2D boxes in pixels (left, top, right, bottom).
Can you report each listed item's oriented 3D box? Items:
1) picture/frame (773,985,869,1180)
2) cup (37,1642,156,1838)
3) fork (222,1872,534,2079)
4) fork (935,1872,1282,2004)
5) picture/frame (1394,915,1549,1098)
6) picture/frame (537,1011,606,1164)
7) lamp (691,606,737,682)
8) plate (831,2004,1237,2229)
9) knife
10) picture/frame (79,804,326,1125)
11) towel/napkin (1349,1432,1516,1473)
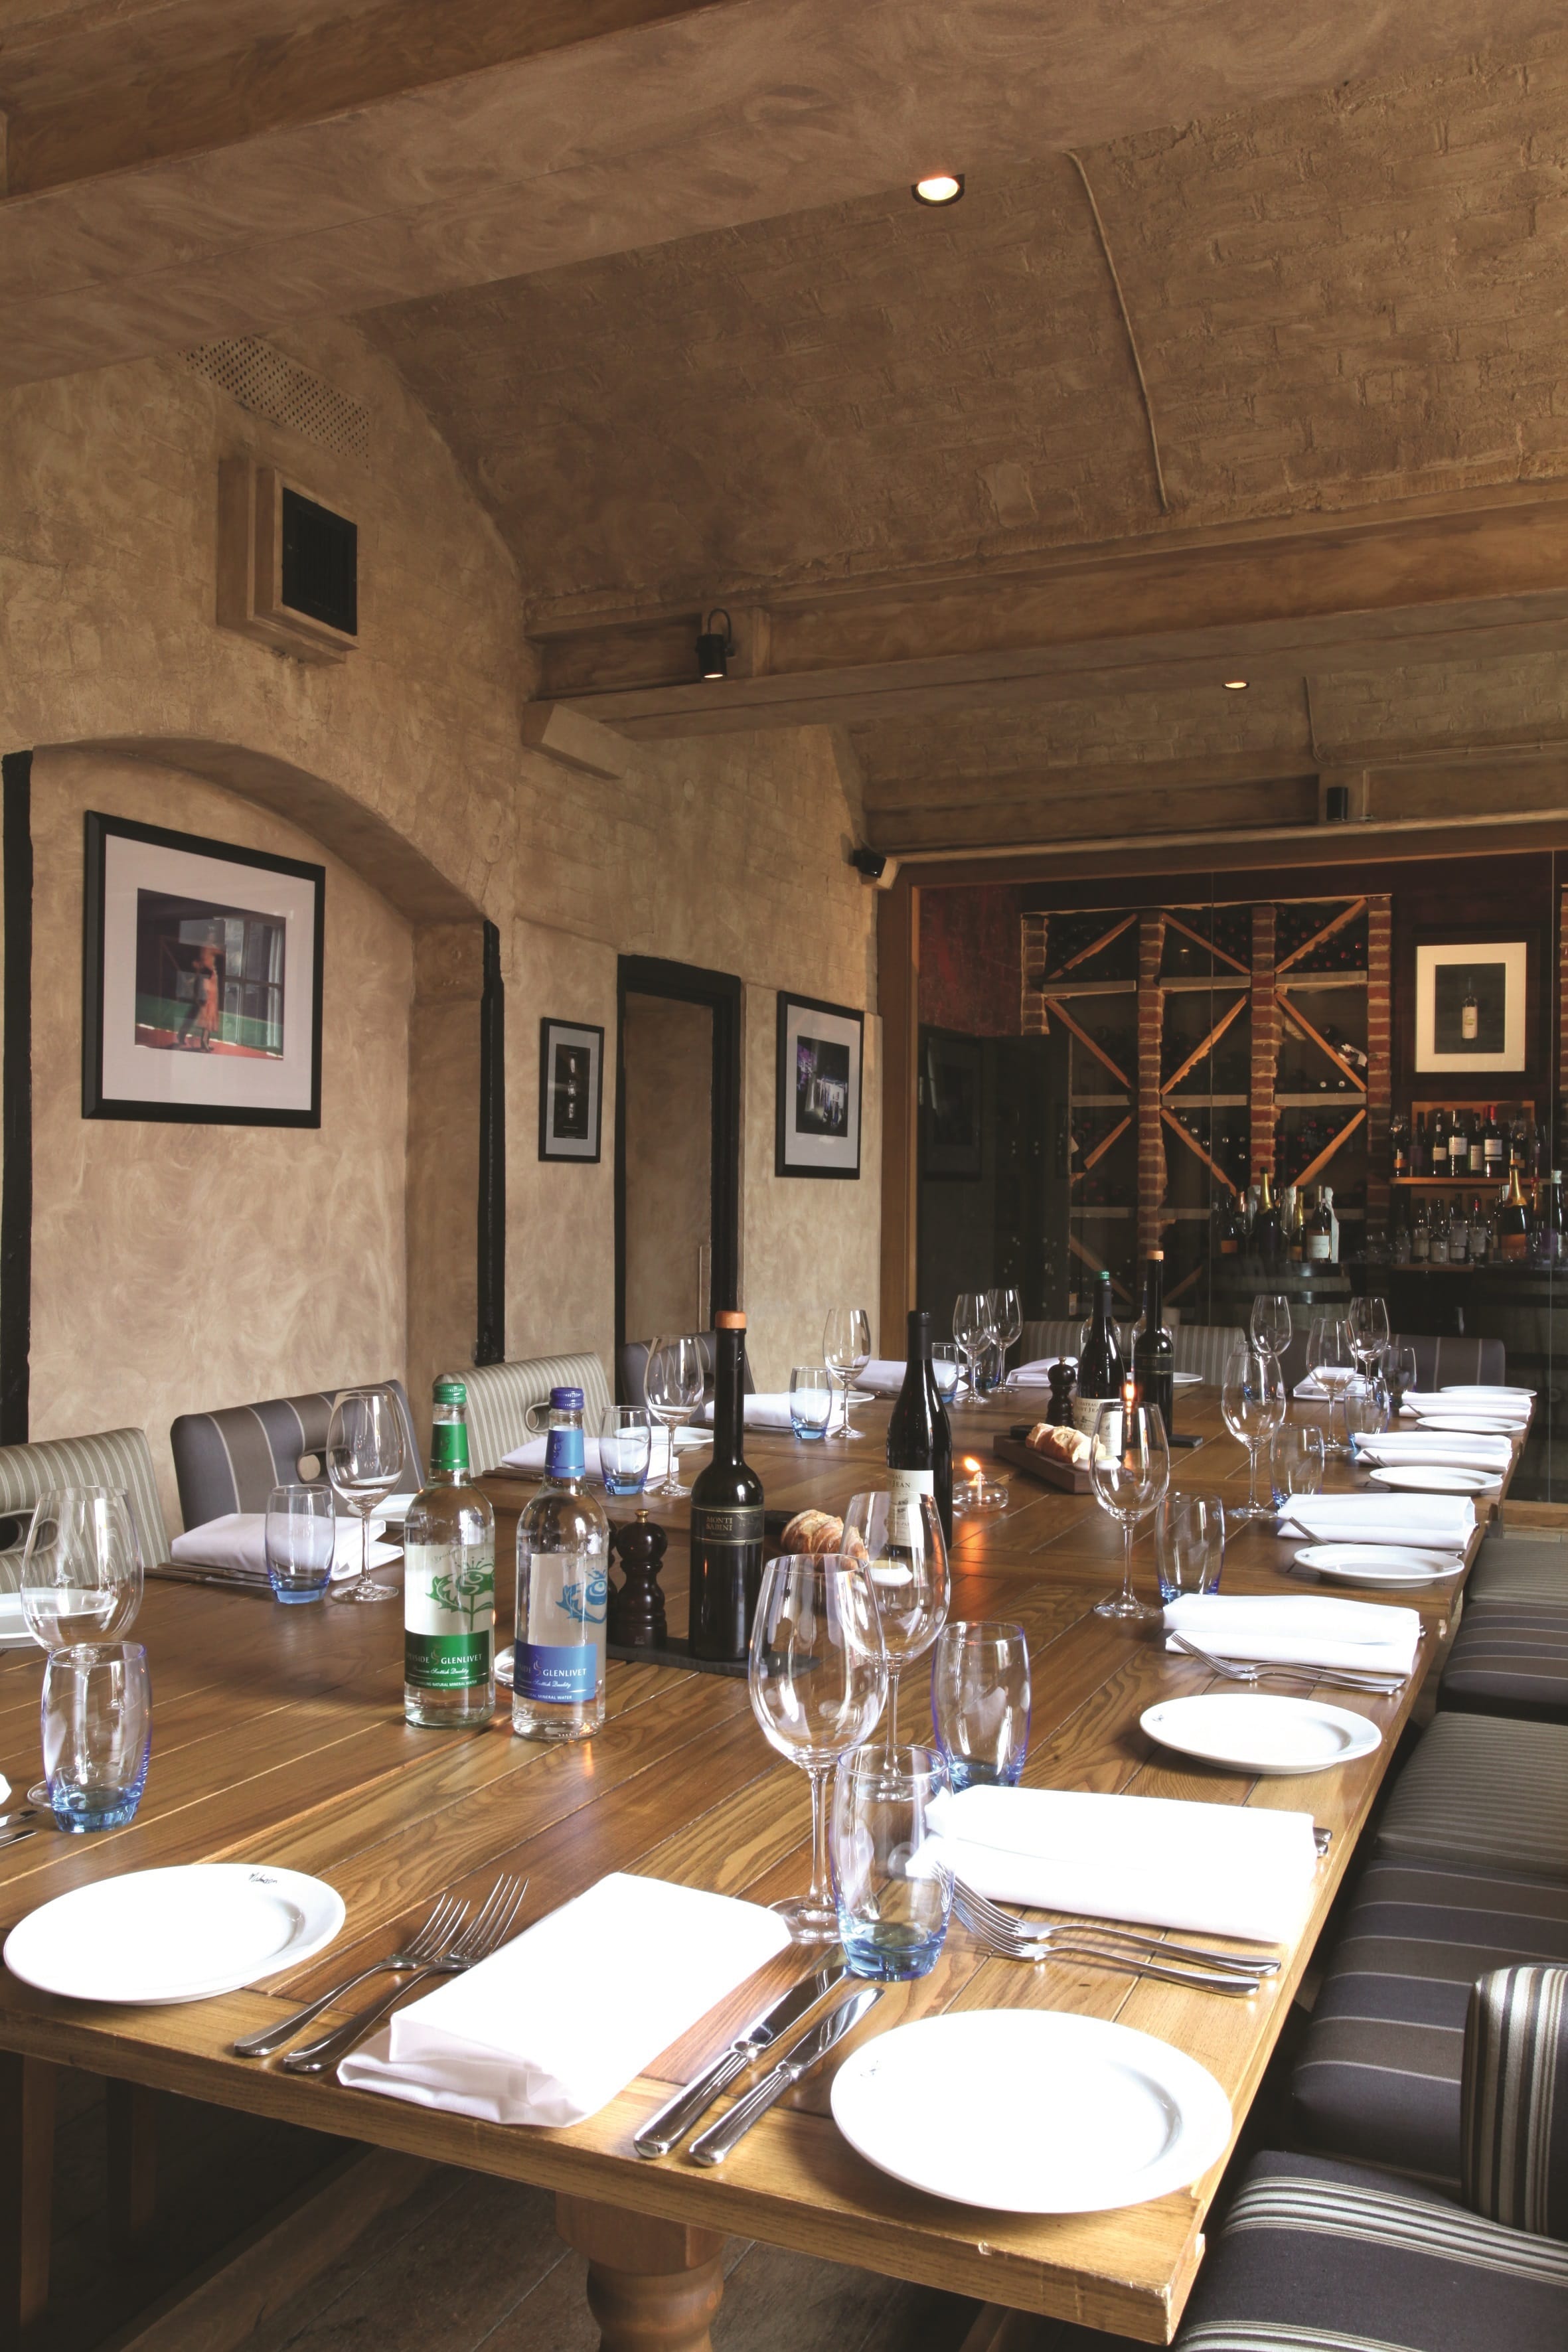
[{"bbox_3d":[0.166,-0.326,6.916,0.064,0.763,0.808,-2,7,-25],"label":"picture/frame"},{"bbox_3d":[-0.453,0.366,1.126,0.062,0.086,0.075,-1,0,-29],"label":"cup"},{"bbox_3d":[-0.197,0.409,0.875,0.034,0.024,0.155,-1,11,21],"label":"fork"},{"bbox_3d":[0.176,0.418,0.927,0.161,0.033,0.034,9,0,17],"label":"fork"},{"bbox_3d":[2.746,-0.680,6.831,0.603,0.865,0.063,2,2,31],"label":"picture/frame"},{"bbox_3d":[-0.681,-0.275,5.326,0.031,0.479,0.433,-1,-1,19],"label":"picture/frame"},{"bbox_3d":[-0.213,-1.515,4.900,0.100,0.175,0.166,-1,0,-15],"label":"lamp"},{"bbox_3d":[0.098,0.389,0.713,0.160,0.017,0.165,-2,0,27],"label":"plate"},{"bbox_3d":[-0.011,0.398,0.774,0.033,0.013,0.137,-2,5,18],"label":"knife"},{"bbox_3d":[-1.380,-0.462,4.132,0.021,0.683,0.867,3,2,19],"label":"picture/frame"},{"bbox_3d":[1.077,0.462,2.855,0.131,0.036,0.129,6,-5,-43],"label":"towel/napkin"}]
